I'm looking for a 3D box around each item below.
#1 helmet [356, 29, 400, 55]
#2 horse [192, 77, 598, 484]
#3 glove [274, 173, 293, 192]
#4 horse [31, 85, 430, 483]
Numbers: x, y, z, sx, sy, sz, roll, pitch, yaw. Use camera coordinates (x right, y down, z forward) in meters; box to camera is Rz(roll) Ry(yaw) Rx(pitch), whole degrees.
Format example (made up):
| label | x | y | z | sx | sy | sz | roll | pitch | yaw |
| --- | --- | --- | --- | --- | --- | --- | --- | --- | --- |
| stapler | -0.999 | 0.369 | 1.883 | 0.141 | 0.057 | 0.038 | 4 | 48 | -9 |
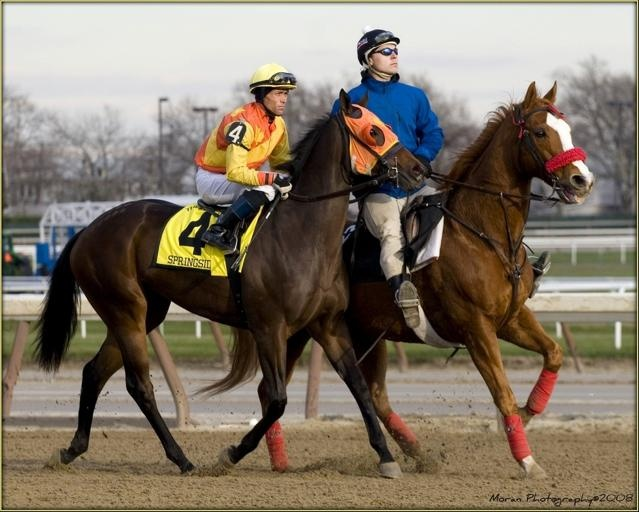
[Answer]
| label | x | y | z | sx | sy | sz | roll | pitch | yaw |
| --- | --- | --- | --- | --- | --- | --- | --- | --- | --- |
| helmet | 0.489 | -1.889 | 12.275 | 0.364 | 0.259 | 0.271 | 1 | 6 | 13 |
| horse | 0.756 | 0.420 | 13.132 | 1.050 | 3.237 | 5.090 | 4 | -8 | -36 |
| glove | -0.312 | -0.649 | 11.968 | 0.111 | 0.162 | 0.164 | 3 | 7 | 29 |
| horse | -0.840 | 0.316 | 12.470 | 4.036 | 3.337 | 0.992 | -1 | -1 | 27 |
